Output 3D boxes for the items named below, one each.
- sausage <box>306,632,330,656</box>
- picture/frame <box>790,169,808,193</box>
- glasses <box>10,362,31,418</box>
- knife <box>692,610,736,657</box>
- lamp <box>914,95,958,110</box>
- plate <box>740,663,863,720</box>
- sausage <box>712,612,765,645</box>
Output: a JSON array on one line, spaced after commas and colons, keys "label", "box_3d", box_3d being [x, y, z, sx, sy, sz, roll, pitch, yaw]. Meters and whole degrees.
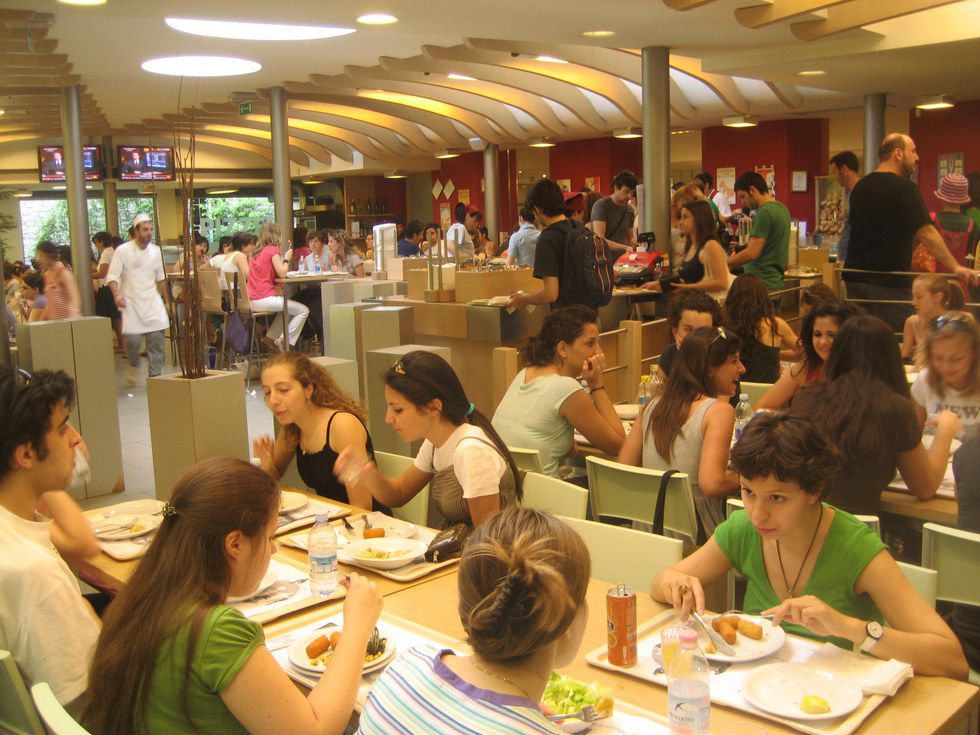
[{"label": "sausage", "box_3d": [-0.475, 0.761, 2.159, 0.032, 0.035, 0.069, -10, -18, -46]}, {"label": "picture/frame", "box_3d": [5.700, -3.430, 14.368, 0.416, 0.441, 0.056, -4, -7, -29]}, {"label": "glasses", "box_3d": [-1.399, 0.055, 2.300, 0.028, 0.112, 0.079, 19, -2, -41]}, {"label": "knife", "box_3d": [0.612, 0.727, 2.139, 0.029, 0.026, 0.221, -38, 20, 5]}, {"label": "lamp", "box_3d": [6.334, -3.781, 11.085, 0.339, 0.092, 0.381, 0, 6, 27]}, {"label": "plate", "box_3d": [0.758, 0.793, 1.891, 0.244, 0.042, 0.215, 5, 11, 40]}, {"label": "sausage", "box_3d": [0.684, 0.715, 2.152, 0.070, 0.023, 0.083, -3, 3, -16]}]
